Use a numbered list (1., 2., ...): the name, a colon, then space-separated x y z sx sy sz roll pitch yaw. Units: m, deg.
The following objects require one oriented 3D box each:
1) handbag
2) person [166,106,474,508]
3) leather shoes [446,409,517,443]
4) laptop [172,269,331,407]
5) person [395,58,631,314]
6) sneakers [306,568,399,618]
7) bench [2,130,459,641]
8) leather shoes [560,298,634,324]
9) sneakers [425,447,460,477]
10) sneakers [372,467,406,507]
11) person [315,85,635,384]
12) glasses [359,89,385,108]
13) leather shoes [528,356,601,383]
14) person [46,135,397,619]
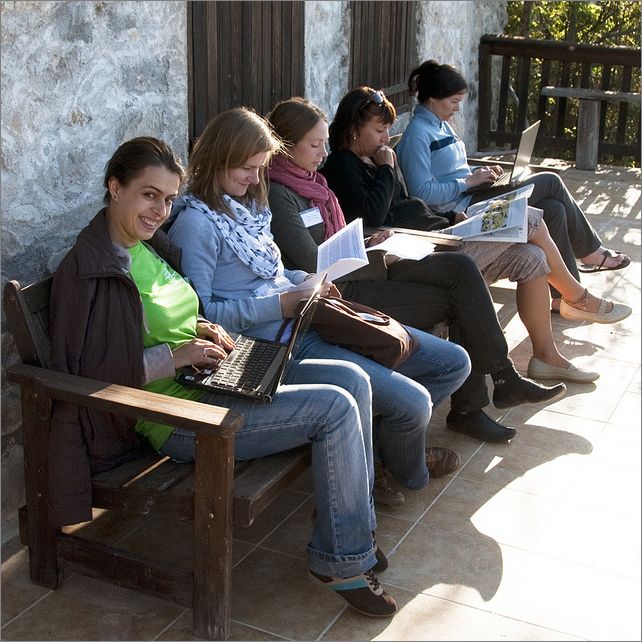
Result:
1. handbag: 0.099 0.044 2.088 0.401 0.121 0.299 21 14 10
2. person: 0.037 -0.041 2.276 1.270 1.361 0.604 13 23 13
3. leather shoes: 0.721 0.455 2.765 0.354 0.138 0.116 9 32 21
4. laptop: -0.157 0.032 1.783 0.460 0.281 0.491 14 19 19
5. person: 1.337 -0.911 3.917 1.713 1.521 0.706 1 26 10
6. sneakers: 0.090 0.771 1.758 0.260 0.107 0.091 25 22 12
7. bench: -0.312 -0.031 2.212 1.478 1.592 1.223 5 19 12
8. leather shoes: 1.675 -0.045 3.624 0.419 0.142 0.158 0 26 9
9. sneakers: 0.488 0.581 2.391 0.201 0.071 0.074 -2 30 10
10. sneakers: 0.263 0.647 2.285 0.192 0.119 0.069 3 14 30
11. person: 0.794 -0.489 3.218 1.809 1.362 0.739 10 23 12
12. glasses: 0.275 -1.173 3.087 0.106 0.038 0.104 1 -7 30
13. leather shoes: 1.367 0.279 3.267 0.418 0.138 0.144 1 10 1
14. person: -0.214 0.137 1.825 1.140 1.223 0.803 9 17 16
